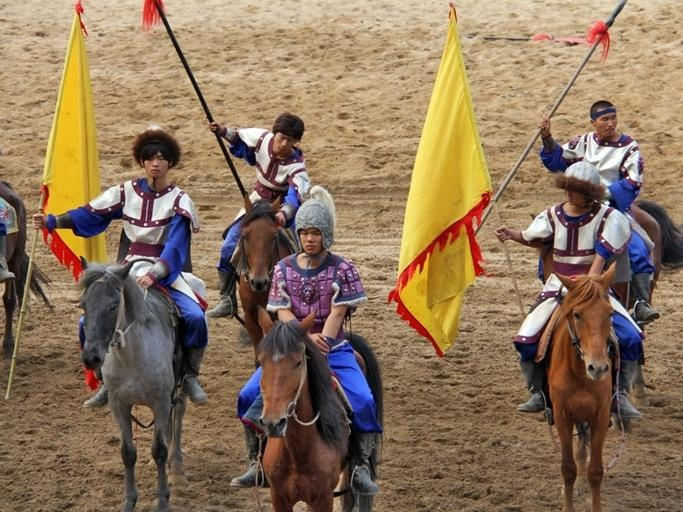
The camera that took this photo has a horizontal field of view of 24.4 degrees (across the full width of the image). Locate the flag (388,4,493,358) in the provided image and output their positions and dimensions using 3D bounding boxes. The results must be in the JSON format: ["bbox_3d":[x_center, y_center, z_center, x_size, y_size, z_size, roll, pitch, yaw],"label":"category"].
[{"bbox_3d":[1.586,-1.121,23.753,1.287,5.119,1.575,6,16,13],"label":"flag"}]

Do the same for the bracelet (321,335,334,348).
[{"bbox_3d":[-0.196,1.213,22.301,0.164,0.176,0.180,0,-2,5],"label":"bracelet"}]

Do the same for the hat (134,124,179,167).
[{"bbox_3d":[-2.817,-1.580,23.909,0.567,0.632,0.370,-1,51,-6],"label":"hat"}]

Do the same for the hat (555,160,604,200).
[{"bbox_3d":[3.560,-1.110,23.341,0.590,0.378,0.581,20,-17,18],"label":"hat"}]

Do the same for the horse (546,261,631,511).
[{"bbox_3d":[3.525,1.949,23.032,0.810,3.496,1.283,-1,16,-11],"label":"horse"}]

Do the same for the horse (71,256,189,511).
[{"bbox_3d":[-3.035,1.896,23.089,1.796,3.649,1.020,-13,22,-42],"label":"horse"}]
